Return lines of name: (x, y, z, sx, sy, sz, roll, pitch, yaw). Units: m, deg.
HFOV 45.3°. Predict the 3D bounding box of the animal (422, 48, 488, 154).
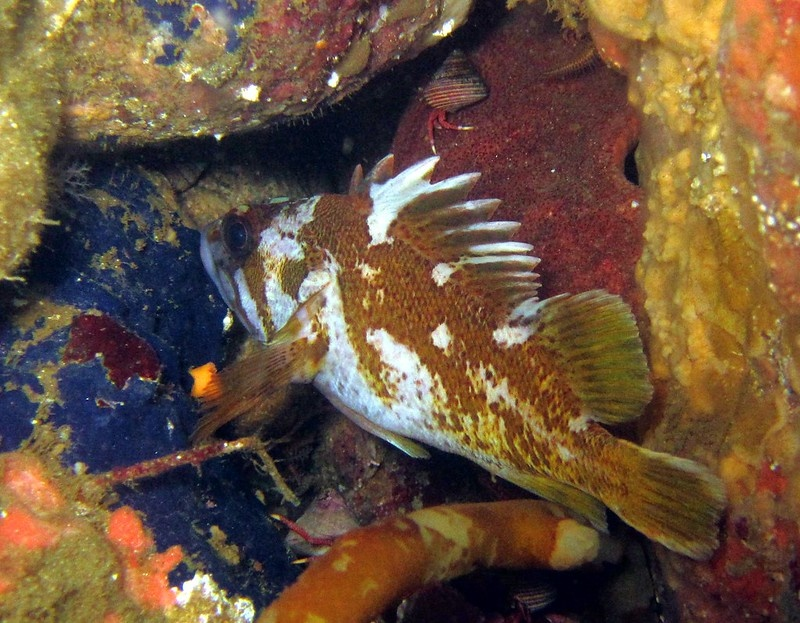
animal: (0.341, -1.359, 6.215, 0.358, 0.187, 0.683, -2, 97, 17)
